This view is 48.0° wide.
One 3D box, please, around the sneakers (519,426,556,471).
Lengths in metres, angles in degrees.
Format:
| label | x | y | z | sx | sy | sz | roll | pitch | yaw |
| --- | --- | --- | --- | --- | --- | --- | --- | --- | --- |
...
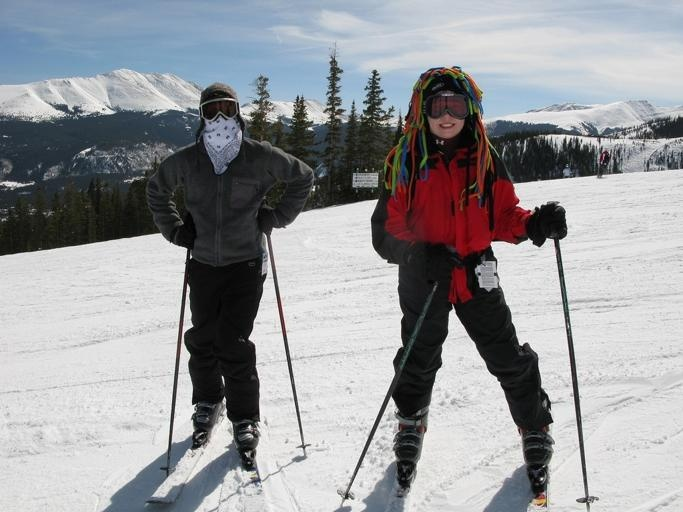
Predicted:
| label | x | y | z | sx | sy | sz | roll | pitch | yaw |
| --- | --- | --- | --- | --- | --- | --- | --- | --- | --- |
| sneakers | 1.949 | 1.911 | 7.629 | 0.174 | 0.249 | 0.556 | -20 | 23 | 30 |

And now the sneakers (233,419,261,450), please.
| label | x | y | z | sx | sy | sz | roll | pitch | yaw |
| --- | --- | --- | --- | --- | --- | --- | --- | --- | --- |
| sneakers | -1.005 | 1.898 | 8.171 | 0.238 | 0.281 | 0.310 | 1 | -17 | -4 |

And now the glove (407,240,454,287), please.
| label | x | y | z | sx | sy | sz | roll | pitch | yaw |
| --- | --- | --- | --- | --- | --- | --- | --- | --- | --- |
| glove | 0.912 | 0.055 | 7.643 | 0.401 | 0.407 | 0.162 | 5 | 4 | 7 |

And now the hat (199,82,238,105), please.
| label | x | y | z | sx | sy | sz | roll | pitch | yaw |
| --- | --- | --- | --- | --- | --- | --- | --- | --- | --- |
| hat | -1.360 | -1.771 | 8.310 | 0.406 | 0.196 | 0.251 | -4 | 13 | 2 |

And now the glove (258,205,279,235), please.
| label | x | y | z | sx | sy | sz | roll | pitch | yaw |
| --- | --- | --- | --- | --- | --- | --- | --- | --- | --- |
| glove | -0.832 | -0.404 | 8.467 | 0.223 | 0.235 | 0.284 | 1 | 25 | -12 |
